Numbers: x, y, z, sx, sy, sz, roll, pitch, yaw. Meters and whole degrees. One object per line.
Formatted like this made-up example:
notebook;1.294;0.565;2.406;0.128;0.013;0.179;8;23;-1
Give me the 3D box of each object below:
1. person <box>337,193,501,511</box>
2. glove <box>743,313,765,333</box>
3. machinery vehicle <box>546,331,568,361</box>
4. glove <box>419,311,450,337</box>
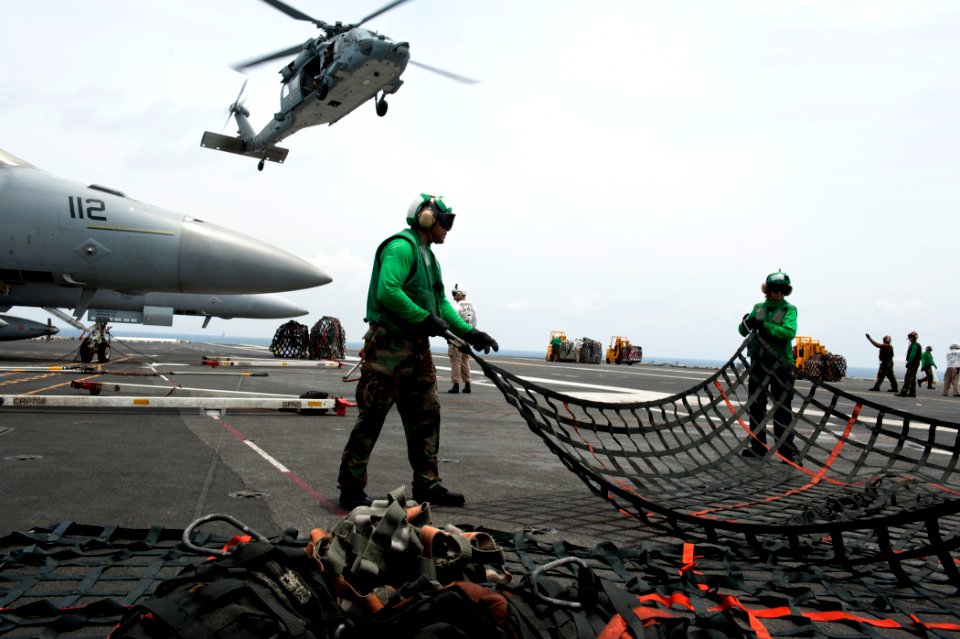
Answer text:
person;-0.518;0.197;4.345;1.023;2.382;0.580;3;-2;-14
glove;3.139;0.029;6.346;0.256;0.089;0.178;26;-7;-33
machinery vehicle;5.738;1.904;40.706;1.228;1.923;3.119;2;-2;5
glove;-0.335;0.035;4.175;0.205;0.156;0.181;2;-2;-7
